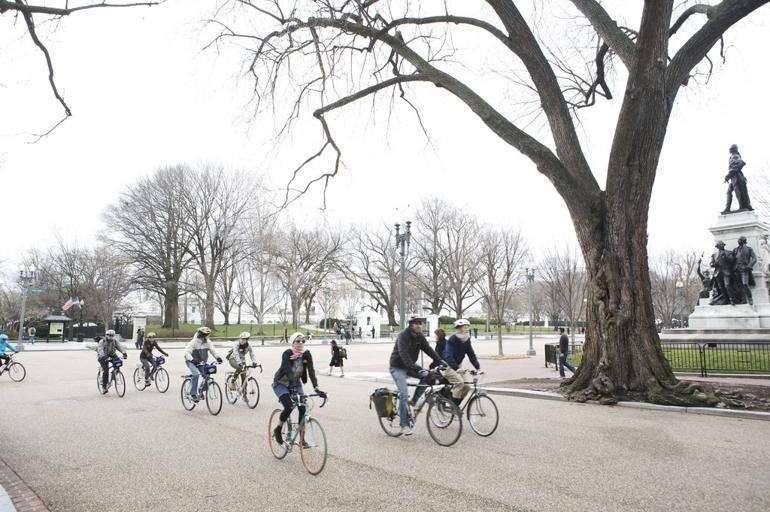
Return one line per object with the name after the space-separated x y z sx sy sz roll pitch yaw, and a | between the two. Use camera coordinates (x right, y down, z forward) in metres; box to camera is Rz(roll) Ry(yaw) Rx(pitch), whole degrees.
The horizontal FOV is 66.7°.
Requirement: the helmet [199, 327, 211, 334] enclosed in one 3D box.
-5.400 2.272 17.801 0.369 0.161 0.260 5 -4 -40 | helmet

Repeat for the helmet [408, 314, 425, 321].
0.772 1.525 14.467 0.351 0.203 0.559 -2 -9 4 | helmet

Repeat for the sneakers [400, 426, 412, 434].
0.537 4.281 14.352 0.136 0.139 0.296 4 -18 -25 | sneakers

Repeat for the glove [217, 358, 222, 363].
-4.840 3.095 17.266 0.119 0.158 0.162 -3 -1 -22 | glove

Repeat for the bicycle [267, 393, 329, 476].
-1.941 3.883 13.027 0.694 1.703 2.282 3 -10 -37 | bicycle

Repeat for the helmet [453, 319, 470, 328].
1.979 1.712 14.930 0.316 0.218 0.258 2 -6 40 | helmet

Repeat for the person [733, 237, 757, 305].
17.139 0.651 27.808 0.826 3.185 0.544 -6 -8 35 | person
